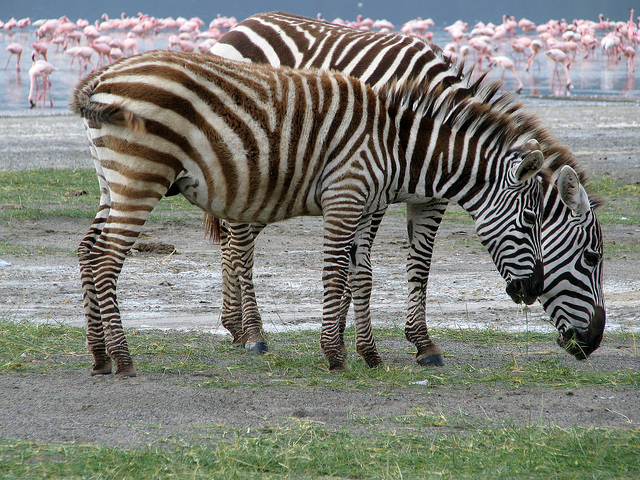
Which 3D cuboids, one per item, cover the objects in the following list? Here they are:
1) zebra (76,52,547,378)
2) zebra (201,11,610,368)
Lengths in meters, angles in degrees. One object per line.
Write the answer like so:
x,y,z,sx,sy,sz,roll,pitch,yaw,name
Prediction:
-0.247,-0.123,12.024,5.398,2.729,1.316,3,-3,-26,zebra
0.666,-0.399,13.993,1.678,3.442,6.501,-4,6,-35,zebra
